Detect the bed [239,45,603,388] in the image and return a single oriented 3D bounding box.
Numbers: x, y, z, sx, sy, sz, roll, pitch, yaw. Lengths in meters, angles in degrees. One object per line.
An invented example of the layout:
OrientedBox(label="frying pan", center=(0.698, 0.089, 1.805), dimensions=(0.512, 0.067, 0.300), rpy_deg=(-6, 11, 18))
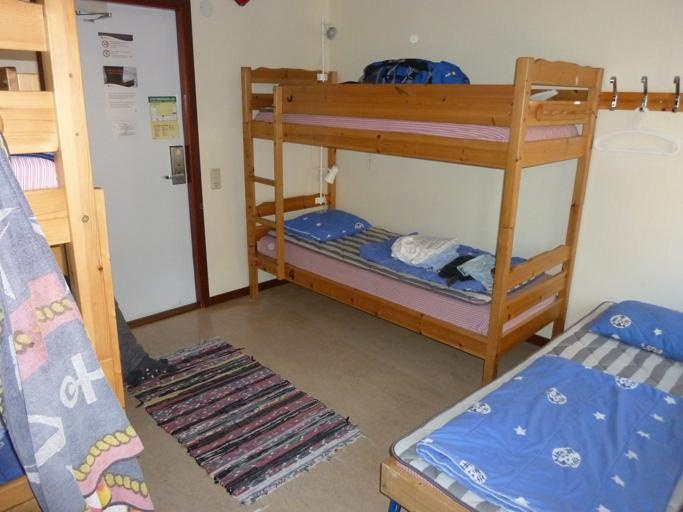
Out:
OrientedBox(label="bed", center=(0.654, -0.271, 4.152), dimensions=(2.559, 2.041, 1.208), rpy_deg=(18, 24, 41))

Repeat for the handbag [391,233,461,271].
OrientedBox(label="handbag", center=(0.681, -0.036, 4.328), dimensions=(0.358, 0.114, 0.360), rpy_deg=(19, 32, 40))

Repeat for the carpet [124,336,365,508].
OrientedBox(label="carpet", center=(-0.658, 1.082, 3.563), dimensions=(0.638, 0.077, 1.381), rpy_deg=(-17, 26, -38))
